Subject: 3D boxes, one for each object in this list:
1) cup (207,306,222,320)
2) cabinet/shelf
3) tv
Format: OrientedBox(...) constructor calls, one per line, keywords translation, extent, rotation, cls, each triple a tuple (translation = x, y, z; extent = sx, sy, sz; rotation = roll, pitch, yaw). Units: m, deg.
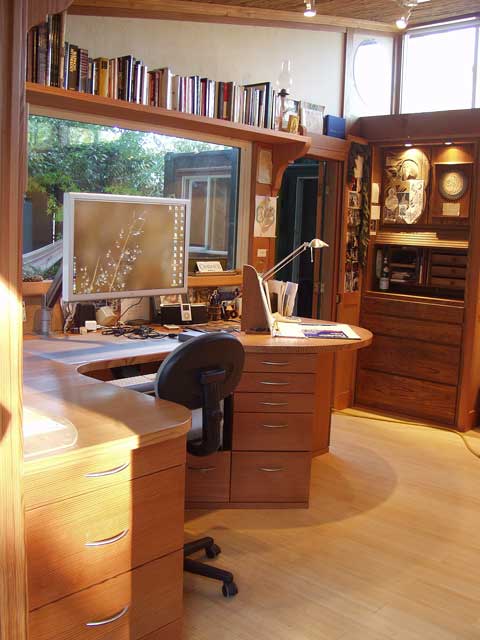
OrientedBox(translation=(-0.160, -0.043, 3.338), extent=(0.082, 0.087, 0.082), rotation=(0, 11, 0), cls="cup")
OrientedBox(translation=(1.411, 0.307, 4.148), extent=(1.023, 0.988, 0.543), rotation=(9, 12, 38), cls="cabinet/shelf")
OrientedBox(translation=(-0.529, -0.352, 2.565), extent=(0.061, 0.492, 0.730), rotation=(9, 12, 39), cls="tv")
